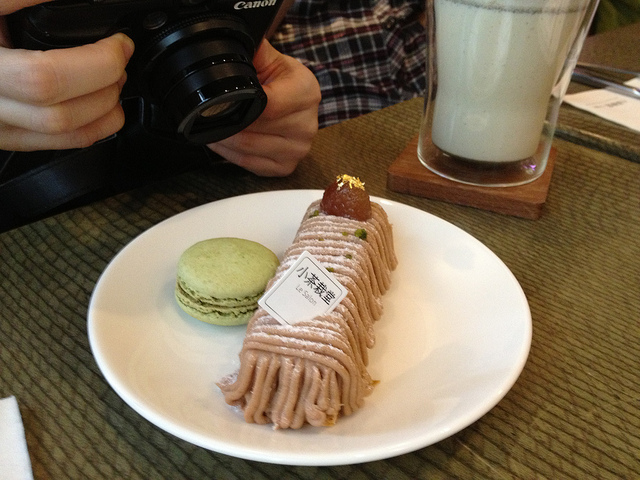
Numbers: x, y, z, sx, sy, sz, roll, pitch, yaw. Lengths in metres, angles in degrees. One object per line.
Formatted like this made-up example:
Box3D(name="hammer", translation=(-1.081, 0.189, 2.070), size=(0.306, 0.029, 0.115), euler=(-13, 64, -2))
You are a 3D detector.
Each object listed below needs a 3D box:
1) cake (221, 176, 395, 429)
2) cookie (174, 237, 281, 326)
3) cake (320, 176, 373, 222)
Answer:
Box3D(name="cake", translation=(0.022, 0.092, 1.066), size=(0.248, 0.264, 0.583), euler=(8, 40, 11))
Box3D(name="cookie", translation=(-0.226, 0.078, 1.163), size=(0.214, 0.114, 0.220), euler=(-3, 38, -39))
Box3D(name="cake", translation=(0.057, -0.090, 1.169), size=(0.132, 0.096, 0.133), euler=(3, 7, -25))
